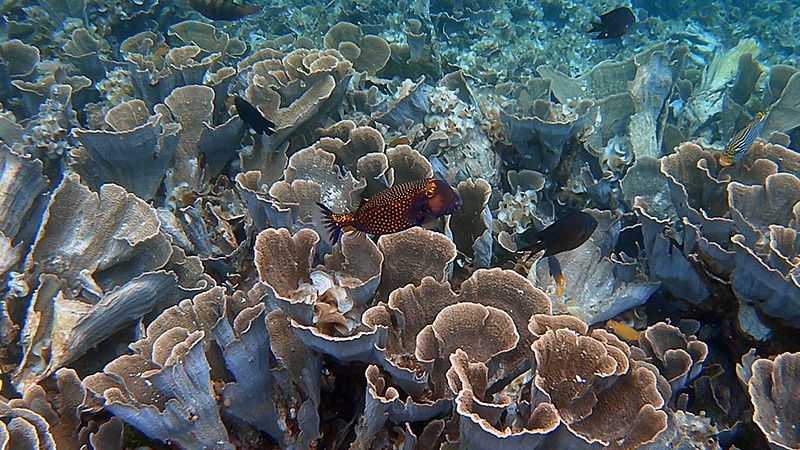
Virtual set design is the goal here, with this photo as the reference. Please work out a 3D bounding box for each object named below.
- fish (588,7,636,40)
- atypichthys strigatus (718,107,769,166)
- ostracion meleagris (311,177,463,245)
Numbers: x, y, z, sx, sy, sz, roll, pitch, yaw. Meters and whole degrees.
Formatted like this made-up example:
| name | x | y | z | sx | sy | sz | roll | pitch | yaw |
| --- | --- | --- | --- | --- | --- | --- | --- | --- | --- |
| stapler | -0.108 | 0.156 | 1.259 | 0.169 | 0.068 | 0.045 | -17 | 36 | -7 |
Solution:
| name | x | y | z | sx | sy | sz | roll | pitch | yaw |
| --- | --- | --- | --- | --- | --- | --- | --- | --- | --- |
| fish | 2.531 | -2.386 | 9.801 | 0.438 | 0.401 | 0.268 | 13 | 21 | 4 |
| atypichthys strigatus | 3.468 | -0.844 | 8.347 | 0.395 | 0.555 | 0.226 | -3 | 24 | -33 |
| ostracion meleagris | -0.073 | -0.109 | 7.579 | 1.222 | 0.743 | 0.142 | 9 | 20 | -7 |
